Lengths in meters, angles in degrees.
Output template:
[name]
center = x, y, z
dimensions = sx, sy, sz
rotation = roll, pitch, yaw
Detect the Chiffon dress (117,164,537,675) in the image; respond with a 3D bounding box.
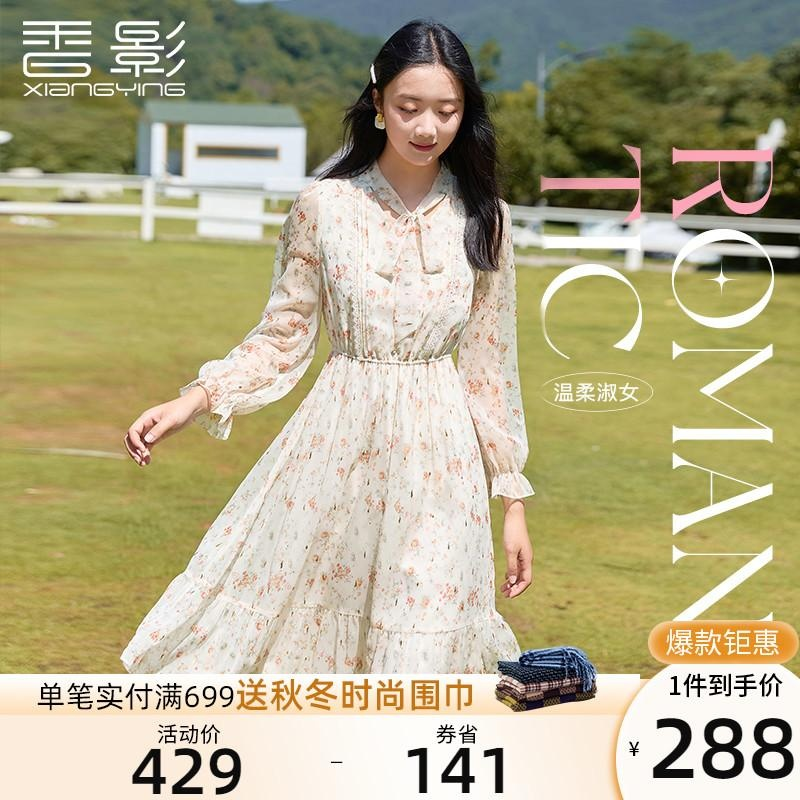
[Chiffon dress]
center = -0.100, 0.073, 2.233
dimensions = 0.685, 1.152, 0.614
rotation = 12, 19, 28
